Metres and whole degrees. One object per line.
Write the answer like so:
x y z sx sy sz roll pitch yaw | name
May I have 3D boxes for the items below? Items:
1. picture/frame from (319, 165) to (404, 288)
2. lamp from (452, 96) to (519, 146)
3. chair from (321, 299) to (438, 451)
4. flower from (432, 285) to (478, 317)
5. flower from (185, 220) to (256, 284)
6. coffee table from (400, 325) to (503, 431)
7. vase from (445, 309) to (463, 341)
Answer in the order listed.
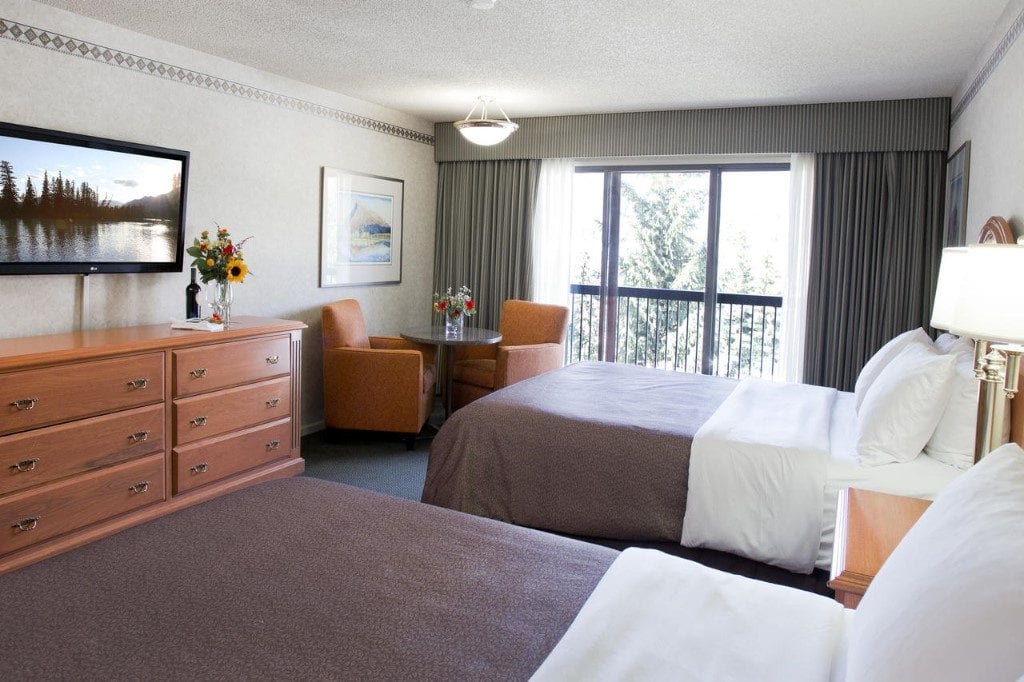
-1.471 -1.110 6.563 1.132 1.098 0.039 7 9 29 | picture/frame
-0.174 -1.975 5.808 0.505 0.307 0.487 -9 23 -20 | lamp
-1.341 0.248 6.406 1.189 1.408 1.273 1 7 0 | chair
-0.566 -0.373 6.510 0.450 0.259 0.442 -2 10 -31 | flower
-2.116 -0.647 4.894 0.487 0.502 0.505 0 9 28 | flower
-0.661 0.289 6.429 0.983 1.052 1.000 -1 8 -19 | coffee table
-0.541 -0.141 6.201 0.246 0.396 0.253 0 2 -5 | vase
